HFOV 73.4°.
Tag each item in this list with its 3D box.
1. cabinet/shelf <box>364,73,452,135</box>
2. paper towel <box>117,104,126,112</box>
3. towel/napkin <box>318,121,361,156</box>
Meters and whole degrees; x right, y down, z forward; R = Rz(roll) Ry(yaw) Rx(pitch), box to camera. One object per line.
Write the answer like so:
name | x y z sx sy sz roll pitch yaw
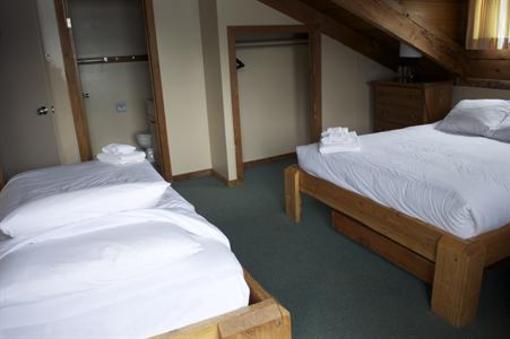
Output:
cabinet/shelf | 2.331 -0.937 5.178 0.615 0.885 0.869 -22 26 -27
paper towel | -2.237 -1.036 5.691 0.122 0.125 0.029 -9 7 -26
towel/napkin | 0.868 -0.306 3.506 0.319 0.105 0.339 -5 23 2
